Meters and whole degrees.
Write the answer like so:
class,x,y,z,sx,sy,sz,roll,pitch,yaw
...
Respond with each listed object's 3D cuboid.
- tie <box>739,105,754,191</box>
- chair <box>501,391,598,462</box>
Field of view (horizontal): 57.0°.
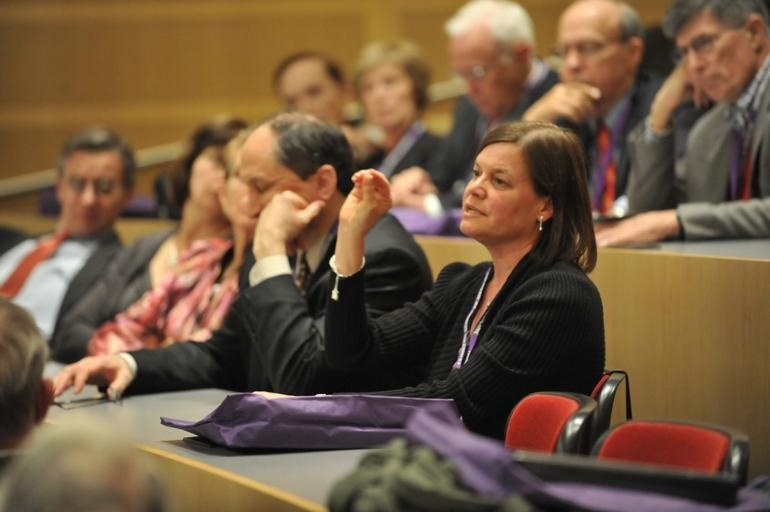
class,x,y,z,sx,sy,sz,roll,pitch,yaw
tie,0.986,-0.249,1.922,0.023,0.194,0.029,2,11,3
chair,0.339,0.334,1.479,0.149,0.132,0.141,-2,-6,44
